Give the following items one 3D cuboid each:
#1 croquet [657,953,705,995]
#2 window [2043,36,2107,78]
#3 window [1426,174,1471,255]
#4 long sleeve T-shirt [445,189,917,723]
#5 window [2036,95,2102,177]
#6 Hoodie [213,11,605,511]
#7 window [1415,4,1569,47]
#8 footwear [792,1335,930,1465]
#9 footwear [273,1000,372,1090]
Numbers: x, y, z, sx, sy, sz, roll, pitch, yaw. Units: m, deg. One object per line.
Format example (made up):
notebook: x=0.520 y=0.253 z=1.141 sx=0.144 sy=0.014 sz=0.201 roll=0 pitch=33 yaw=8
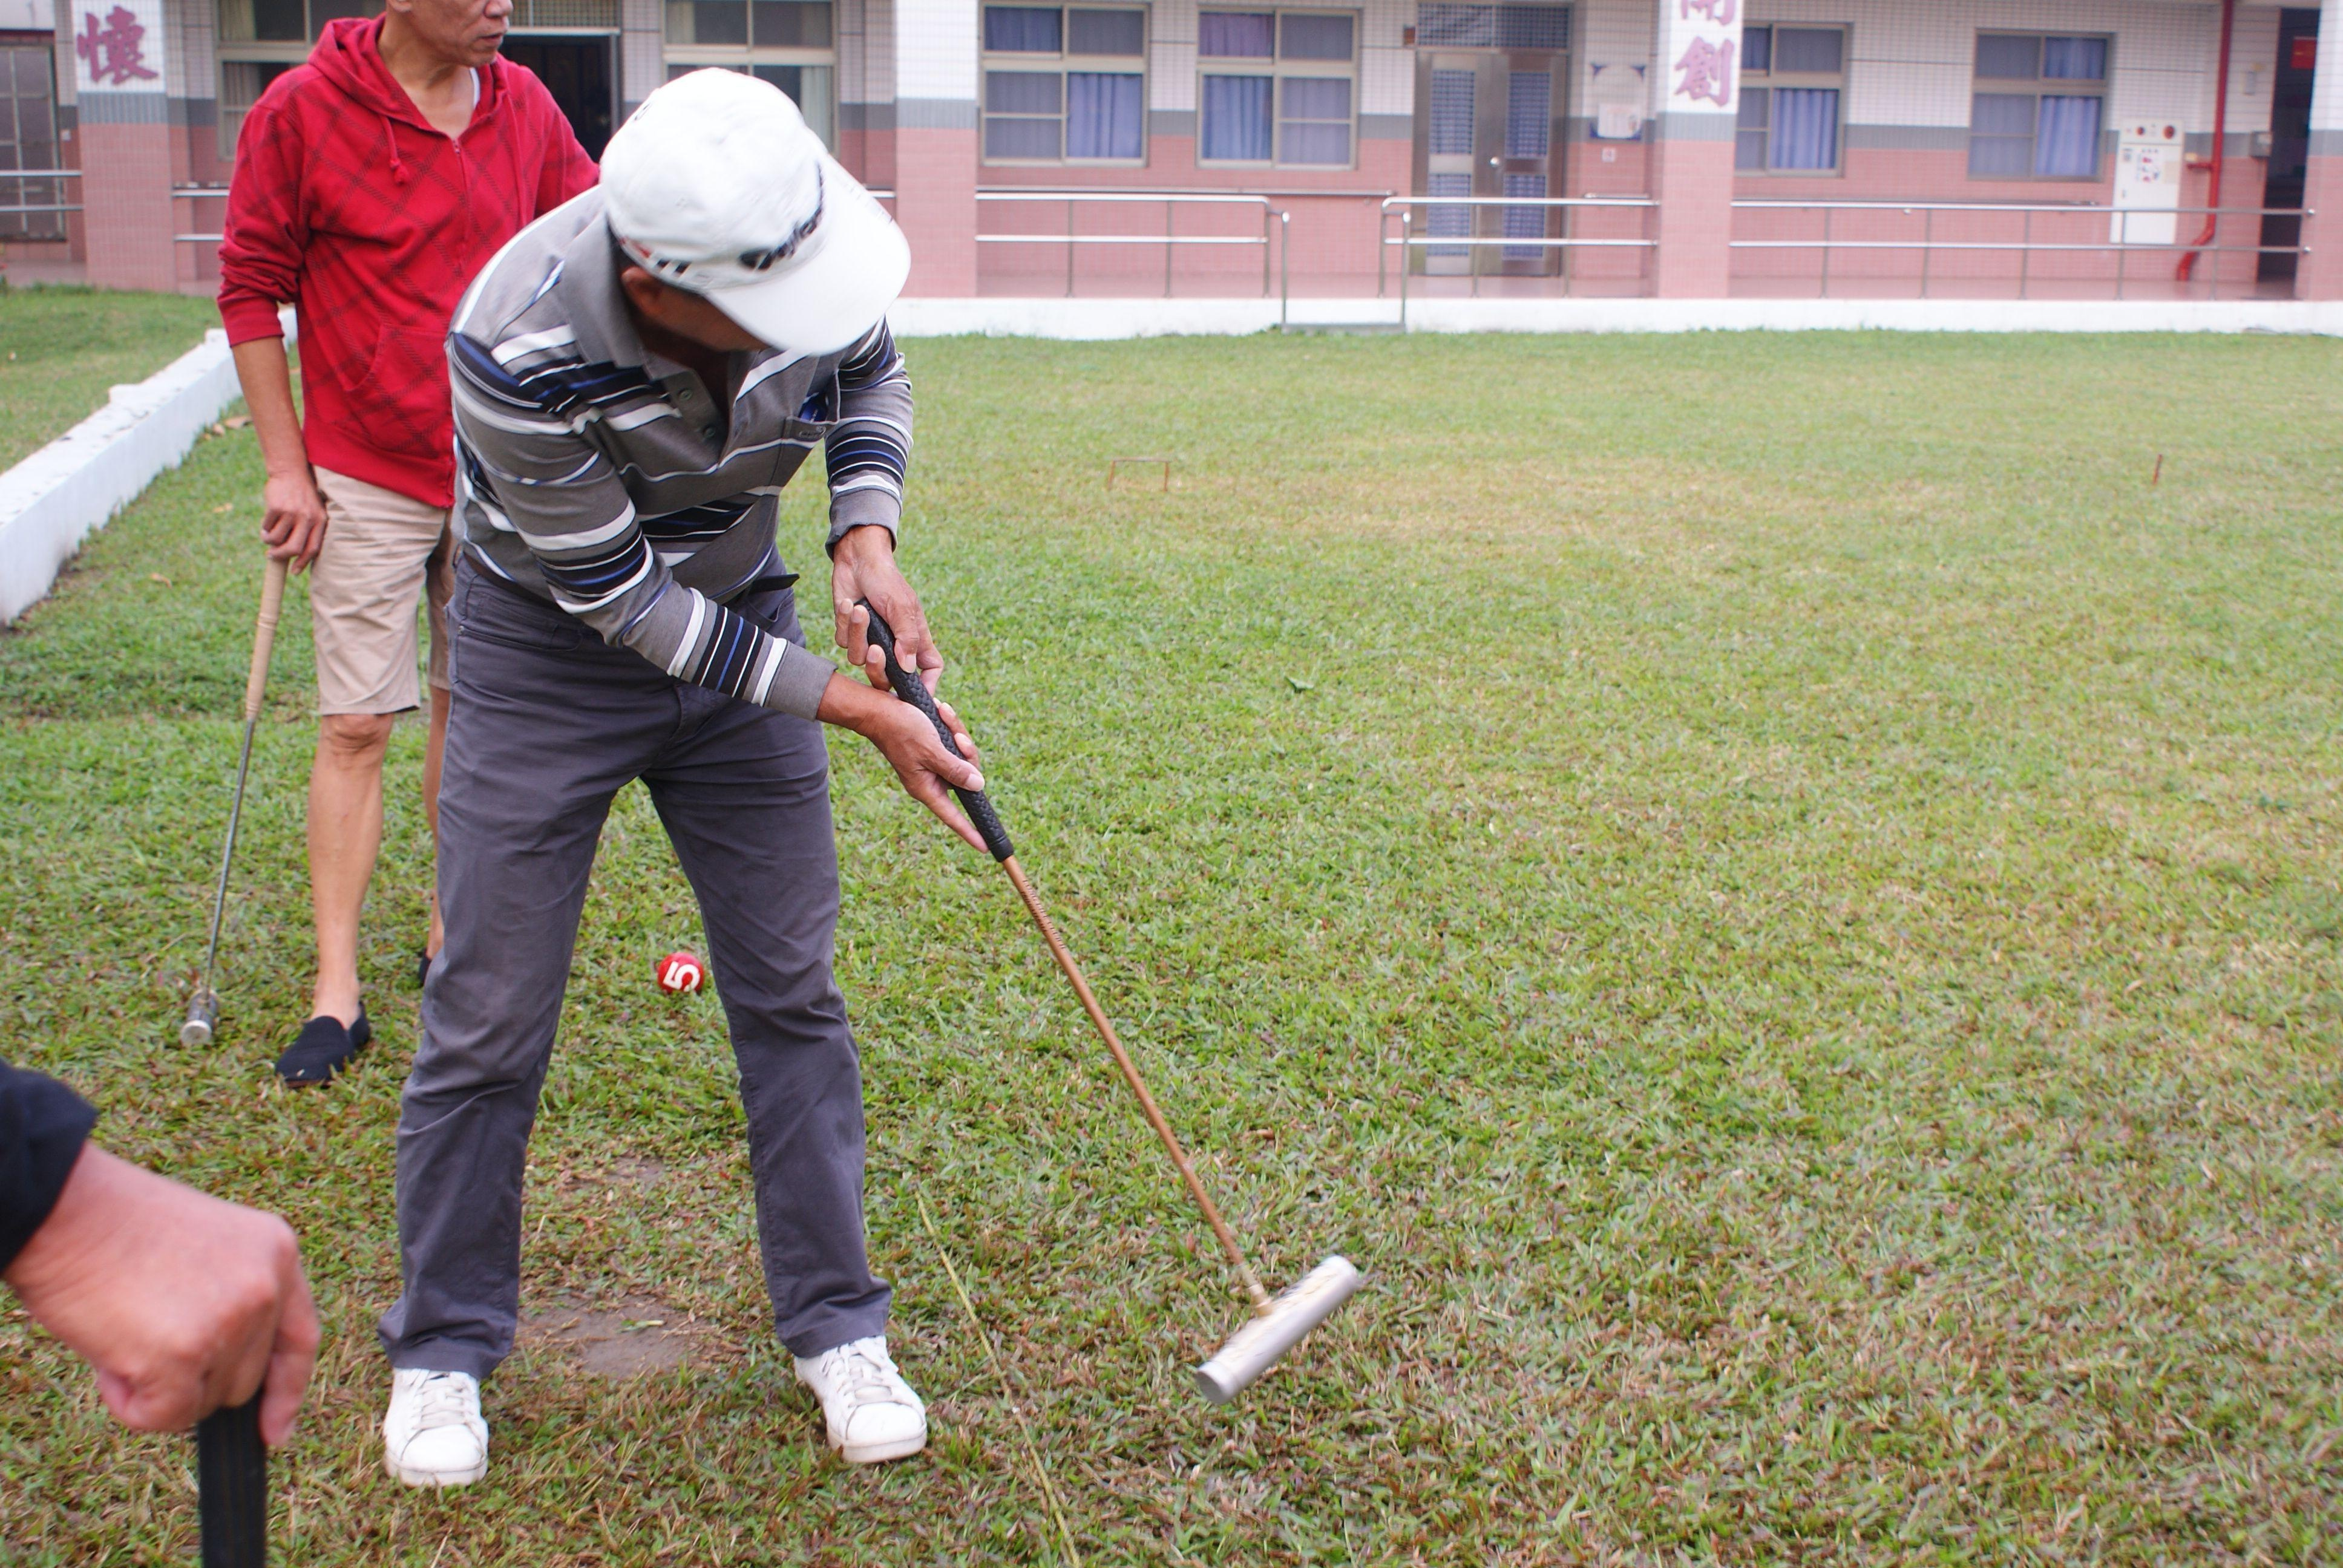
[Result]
croquet: x=-1.113 y=0.426 z=4.183 sx=0.091 sy=0.095 sz=0.088 roll=5 pitch=-37 yaw=-47
window: x=9.994 y=-8.115 z=20.247 sx=0.448 sy=0.343 sz=0.038 roll=1 pitch=25 yaw=1
window: x=2.913 y=-5.933 z=19.251 sx=0.491 sy=1.146 sz=0.094 roll=2 pitch=-11 yaw=-3
long sleeve T-shirt: x=-0.813 y=-0.564 z=2.973 sx=0.721 sy=0.815 sz=0.884 roll=4 pitch=50 yaw=-2
window: x=10.013 y=-7.324 z=20.398 sx=0.762 sy=0.975 sz=0.099 roll=2 pitch=7 yaw=-4
Hoodie: x=-1.646 y=-1.135 z=3.919 sx=0.338 sy=0.967 sz=0.815 roll=20 pitch=31 yaw=24
window: x=3.295 y=-7.892 z=18.856 sx=1.462 sy=0.472 sz=0.089 roll=-3 pitch=10 yaw=-9
footwear: x=-0.506 y=1.031 z=3.061 sx=0.107 sy=0.119 sz=0.266 roll=-9 pitch=7 yaw=-27
footwear: x=-1.792 y=0.563 z=3.876 sx=0.091 sy=0.069 sz=0.182 roll=0 pitch=13 yaw=9
